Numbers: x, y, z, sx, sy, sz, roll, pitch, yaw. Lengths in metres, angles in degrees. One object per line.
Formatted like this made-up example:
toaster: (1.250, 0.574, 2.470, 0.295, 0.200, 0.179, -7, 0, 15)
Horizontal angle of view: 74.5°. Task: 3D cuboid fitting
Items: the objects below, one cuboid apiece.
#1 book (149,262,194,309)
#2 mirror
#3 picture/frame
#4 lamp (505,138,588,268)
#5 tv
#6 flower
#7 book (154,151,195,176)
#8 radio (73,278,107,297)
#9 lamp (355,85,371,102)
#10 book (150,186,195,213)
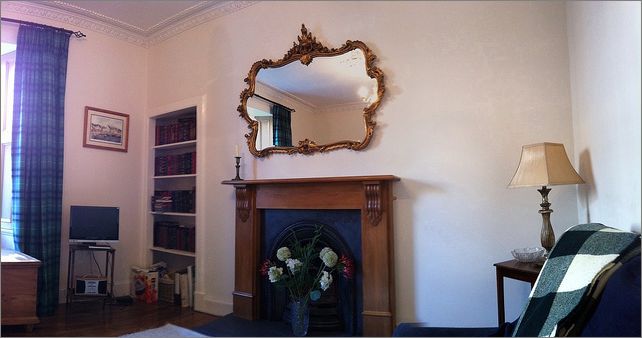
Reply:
book: (-2.168, 1.754, 6.473, 0.711, 0.466, 0.561, 4, 2, 37)
mirror: (-0.055, -1.031, 5.570, 2.165, 1.518, 0.132, -3, -10, 23)
picture/frame: (-3.402, -0.630, 6.571, 0.833, 0.814, 0.064, 4, -7, -35)
lamp: (2.373, 0.309, 4.498, 0.687, 1.185, 0.381, -1, -5, -6)
tv: (-3.355, 0.836, 6.155, 0.752, 0.533, 0.091, 1, -3, -11)
flower: (-0.164, 1.353, 5.320, 1.199, 1.360, 0.472, -1, -5, 2)
book: (-2.307, -0.072, 6.609, 0.924, 0.349, 0.085, -4, -6, 31)
radio: (-3.256, 1.654, 5.958, 0.463, 0.269, 0.241, 1, -8, -10)
lamp: (0.528, -0.938, 5.325, 0.213, 0.179, 0.049, 26, 16, 17)
book: (-2.272, 0.484, 6.530, 1.095, 0.313, 0.485, -3, -4, 30)
